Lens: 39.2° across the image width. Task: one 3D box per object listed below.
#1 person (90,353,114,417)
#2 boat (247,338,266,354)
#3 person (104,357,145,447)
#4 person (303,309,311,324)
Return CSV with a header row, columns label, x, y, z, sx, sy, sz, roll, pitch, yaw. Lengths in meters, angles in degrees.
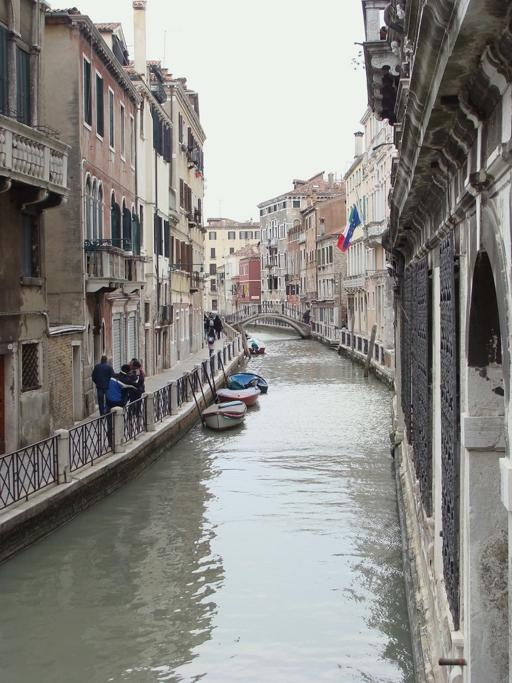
label,x,y,z,sx,sy,sz,roll,pitch,yaw
person,-3.745,0.990,17.733,0.374,1.578,0.432,1,23,-8
boat,-0.023,0.393,53.113,1.194,0.835,1.846,-1,3,-1
person,-3.133,1.038,17.227,0.819,1.154,1.553,0,3,3
person,4.824,-2.571,69.213,0.271,1.353,0.788,5,5,3
